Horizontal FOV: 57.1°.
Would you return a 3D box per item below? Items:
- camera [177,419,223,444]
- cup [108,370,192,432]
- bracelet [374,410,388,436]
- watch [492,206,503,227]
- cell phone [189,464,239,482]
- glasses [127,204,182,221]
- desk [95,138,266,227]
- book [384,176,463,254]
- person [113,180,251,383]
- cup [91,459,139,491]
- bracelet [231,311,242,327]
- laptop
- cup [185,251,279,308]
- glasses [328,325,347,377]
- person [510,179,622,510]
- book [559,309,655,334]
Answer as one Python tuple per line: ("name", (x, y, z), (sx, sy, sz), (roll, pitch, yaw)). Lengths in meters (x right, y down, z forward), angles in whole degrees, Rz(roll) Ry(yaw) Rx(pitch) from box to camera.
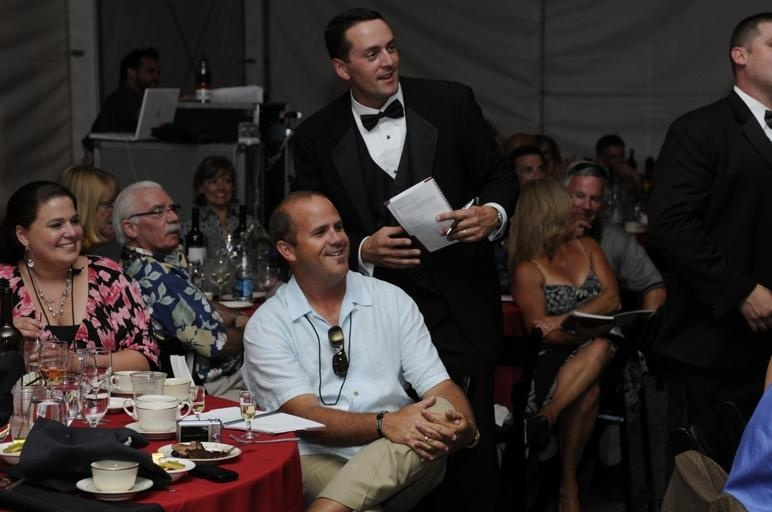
("camera", (-0.676, 0.634, 2.559), (0.151, 0.092, 0.084), (0, 6, -4))
("cup", (-0.903, 0.556, 2.739), (0.194, 0.124, 0.282), (0, 2, -41))
("bracelet", (-0.017, 0.708, 2.969), (0.049, 0.104, 0.045), (-2, 0, -1))
("watch", (0.525, -0.171, 3.242), (0.022, 0.069, 0.074), (-15, 25, -10))
("cell phone", (-0.574, 0.723, 2.371), (0.110, 0.019, 0.062), (5, 5, 24))
("glasses", (-1.375, -0.239, 4.079), (0.191, 0.051, 0.160), (-11, -1, 27))
("desk", (-1.669, -0.562, 6.182), (1.375, 0.636, 0.820), (1, -2, 5))
("book", (0.179, -0.176, 3.086), (0.299, 0.293, 0.069), (-34, 21, 16))
("person", (-1.181, 0.234, 4.240), (0.879, 1.294, 0.762), (-12, 20, -23))
("cup", (-0.843, 0.676, 2.201), (0.112, 0.057, 0.097), (1, -13, 8))
("bracelet", (-0.935, 0.401, 4.427), (0.079, 0.097, 0.055), (11, -35, -10))
("laptop", (-1.966, -1.108, 5.803), (0.656, 0.425, 0.492), (-2, -1, 32))
("cup", (-1.030, 0.171, 5.009), (0.464, 0.231, 0.434), (0, -1, 0))
("glasses", (-0.201, 0.430, 3.138), (0.090, 0.228, 0.093), (-2, 0, -21))
("person", (1.230, 0.495, 4.528), (0.738, 2.102, 0.715), (-2, 0, -7))
("book", (1.306, 0.392, 4.210), (0.277, 0.095, 0.223), (-6, -10, 3))
